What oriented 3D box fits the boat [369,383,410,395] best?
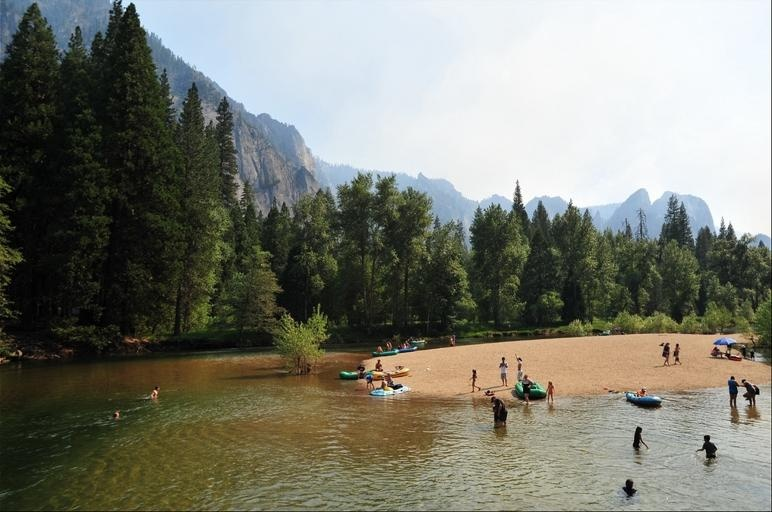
[{"bbox_3d":[0.723,16.478,79.627,3.488,0.760,1.738,3,-7,-41],"label":"boat"}]

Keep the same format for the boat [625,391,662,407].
[{"bbox_3d":[28.914,16.747,74.979,1.575,1.119,3.248,1,4,-6],"label":"boat"}]

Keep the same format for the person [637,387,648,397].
[{"bbox_3d":[29.721,15.876,75.986,0.766,1.510,0.660,3,6,-7],"label":"person"}]

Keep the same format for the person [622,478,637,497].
[{"bbox_3d":[22.950,21.748,61.509,1.278,1.435,0.876,-7,14,-23],"label":"person"}]
